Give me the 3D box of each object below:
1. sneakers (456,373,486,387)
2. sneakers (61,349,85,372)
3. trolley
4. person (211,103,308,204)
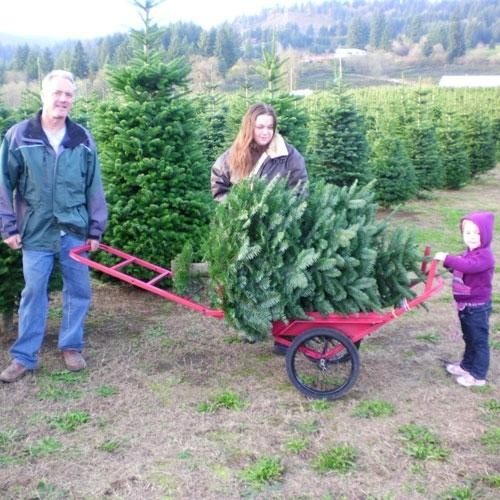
[{"bbox_3d":[1.777,1.048,4.124,0.204,0.085,0.094,2,8,21],"label":"sneakers"},{"bbox_3d":[-1.478,0.924,4.307,0.110,0.109,0.246,-9,9,-32],"label":"sneakers"},{"bbox_3d":[-0.156,0.471,4.393,3.488,1.353,1.217,3,16,0],"label":"trolley"},{"bbox_3d":[0.079,-0.862,4.488,0.827,0.815,0.341,-1,15,-5],"label":"person"}]
